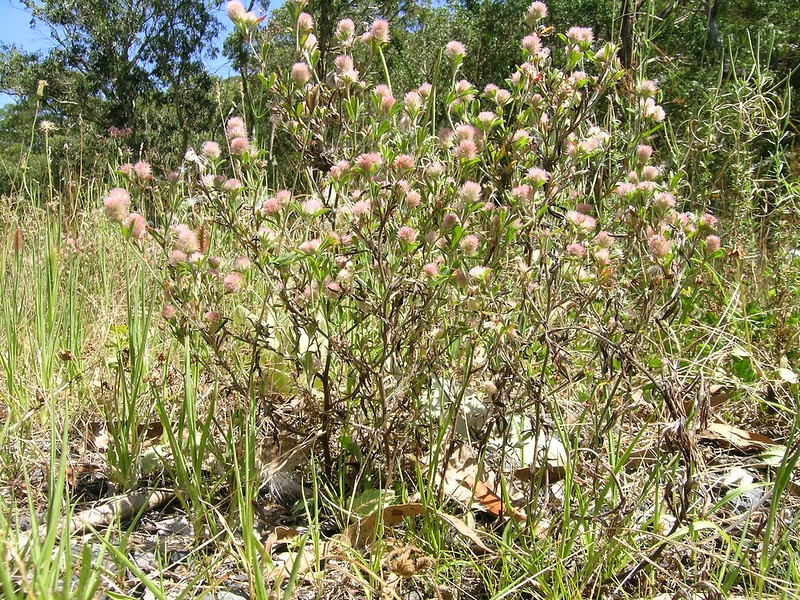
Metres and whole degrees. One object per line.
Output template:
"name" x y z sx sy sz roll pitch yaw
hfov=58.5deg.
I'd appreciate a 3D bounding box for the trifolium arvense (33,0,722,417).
"trifolium arvense" -0.039 -0.151 2.543 1.759 1.449 1.703 6 -22 -17
